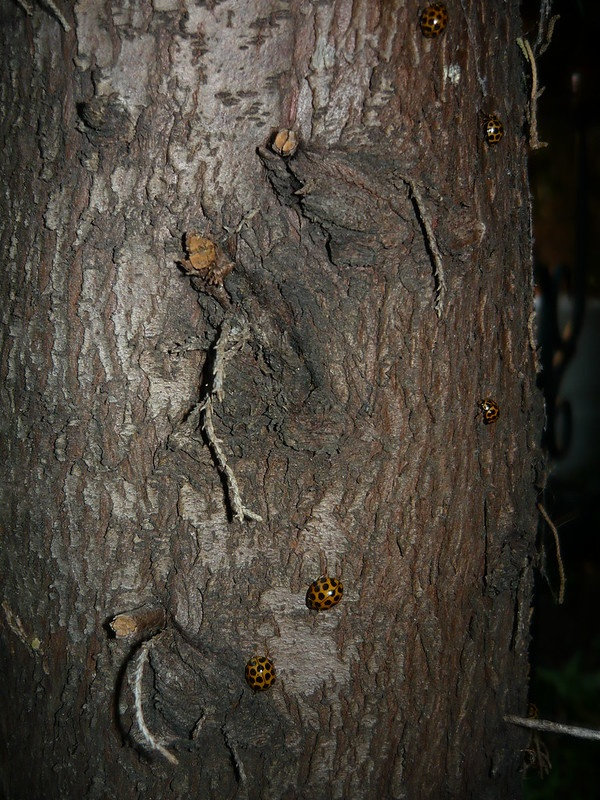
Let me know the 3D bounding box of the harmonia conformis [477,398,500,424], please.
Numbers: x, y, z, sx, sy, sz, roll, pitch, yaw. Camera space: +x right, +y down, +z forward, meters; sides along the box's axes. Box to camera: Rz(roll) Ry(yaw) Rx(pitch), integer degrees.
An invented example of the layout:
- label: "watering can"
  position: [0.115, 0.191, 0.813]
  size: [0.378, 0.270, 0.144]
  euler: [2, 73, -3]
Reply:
- label: "harmonia conformis"
  position: [0.601, 0.030, 3.673]
  size: [0.055, 0.020, 0.081]
  euler: [3, 87, -33]

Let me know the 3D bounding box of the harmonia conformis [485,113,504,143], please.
- label: "harmonia conformis"
  position: [0.592, -0.827, 3.549]
  size: [0.054, 0.023, 0.100]
  euler: [7, 84, -43]

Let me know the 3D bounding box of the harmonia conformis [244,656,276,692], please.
- label: "harmonia conformis"
  position: [-0.126, 0.875, 3.748]
  size: [0.100, 0.080, 0.105]
  euler: [-7, 62, -18]
